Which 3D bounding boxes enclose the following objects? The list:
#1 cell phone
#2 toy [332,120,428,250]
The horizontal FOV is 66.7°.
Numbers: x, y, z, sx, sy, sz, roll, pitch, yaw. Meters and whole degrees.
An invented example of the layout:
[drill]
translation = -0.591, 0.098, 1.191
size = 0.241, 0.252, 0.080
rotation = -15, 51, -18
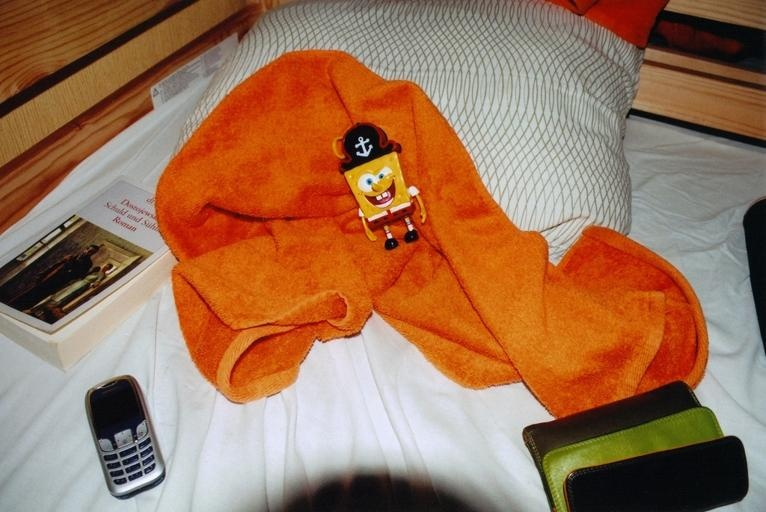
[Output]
[cell phone]
translation = -0.502, 0.345, 1.120
size = 0.119, 0.059, 0.243
rotation = -19, 69, -9
[toy]
translation = -0.004, -0.153, 1.249
size = 0.153, 0.188, 0.231
rotation = -19, 60, -9
